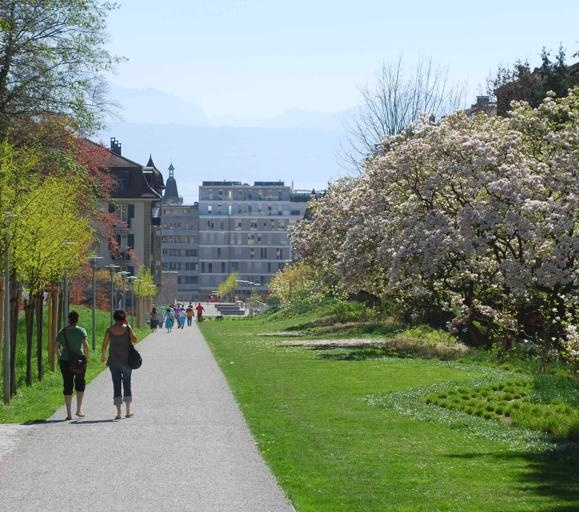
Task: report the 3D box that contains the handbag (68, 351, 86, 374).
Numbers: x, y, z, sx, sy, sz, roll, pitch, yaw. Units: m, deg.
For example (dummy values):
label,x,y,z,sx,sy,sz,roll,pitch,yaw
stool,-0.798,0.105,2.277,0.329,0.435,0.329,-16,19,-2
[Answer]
label,x,y,z,sx,sy,sz,roll,pitch,yaw
handbag,-4.472,2.230,21.552,0.371,0.568,0.236,0,-8,-15

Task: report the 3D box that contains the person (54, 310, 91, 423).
label,x,y,z,sx,sy,sz,roll,pitch,yaw
person,-4.531,2.262,21.588,0.625,2.191,0.825,2,-2,-31

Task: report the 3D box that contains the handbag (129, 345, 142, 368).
label,x,y,z,sx,sy,sz,roll,pitch,yaw
handbag,-3.280,2.131,21.797,0.250,0.531,0.580,1,-2,-6
